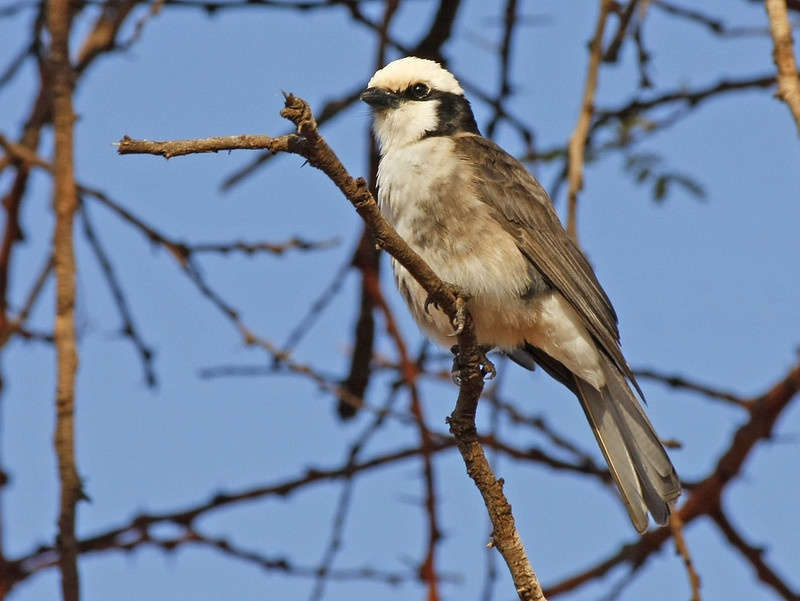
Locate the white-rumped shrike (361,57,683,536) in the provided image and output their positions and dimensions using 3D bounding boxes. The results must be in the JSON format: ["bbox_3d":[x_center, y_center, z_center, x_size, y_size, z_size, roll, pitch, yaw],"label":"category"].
[{"bbox_3d":[0.574,-0.085,8.062,1.598,2.840,0.578,11,-33,-21],"label":"white-rumped shrike"}]
